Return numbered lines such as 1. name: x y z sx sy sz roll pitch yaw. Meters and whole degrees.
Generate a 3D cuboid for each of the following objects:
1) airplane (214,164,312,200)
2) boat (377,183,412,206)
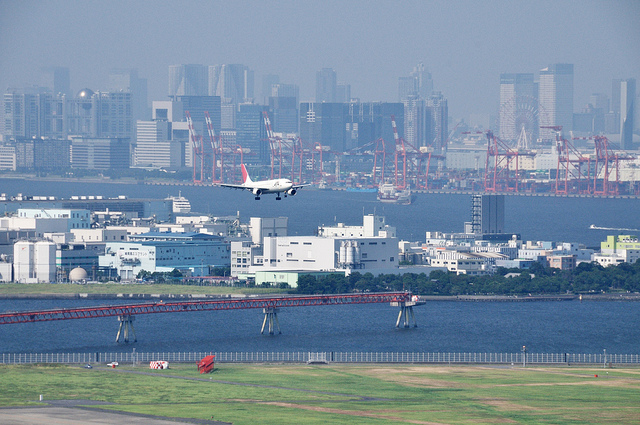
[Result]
1. airplane: -4.216 -2.337 163.194 6.429 2.020 5.843 -5 5 -41
2. boat: 10.666 -2.554 302.752 2.393 2.053 6.634 0 2 -21
